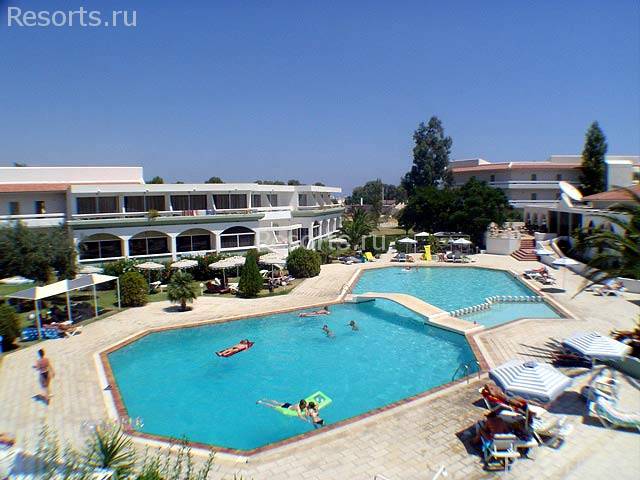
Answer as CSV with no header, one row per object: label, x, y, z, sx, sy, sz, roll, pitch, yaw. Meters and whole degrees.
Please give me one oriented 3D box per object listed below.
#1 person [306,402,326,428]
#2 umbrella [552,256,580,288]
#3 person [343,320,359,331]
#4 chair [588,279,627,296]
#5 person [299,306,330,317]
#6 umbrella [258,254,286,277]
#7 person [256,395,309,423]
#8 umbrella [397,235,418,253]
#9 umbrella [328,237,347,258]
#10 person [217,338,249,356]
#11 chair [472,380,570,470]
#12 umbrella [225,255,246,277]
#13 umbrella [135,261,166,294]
person,-0.226,6.578,14.543,0.705,0.285,0.418,49,21,20
umbrella,19.966,2.763,31.657,2.325,2.015,1.941,-7,9,-26
person,1.869,4.927,23.047,0.811,0.560,1.500,0,12,3
chair,19.802,3.300,26.727,1.872,0.852,2.967,9,15,36
person,-0.319,4.607,24.613,1.243,0.191,0.709,-4,13,-3
umbrella,-3.749,2.147,31.516,2.399,1.988,1.927,-2,27,-8
person,-1.311,6.584,15.221,1.399,0.346,0.827,9,20,20
umbrella,9.804,0.574,43.400,2.343,1.325,2.254,0,3,-42
umbrella,1.924,0.939,44.534,2.716,2.158,2.502,0,-2,2
person,-4.340,5.599,19.942,0.831,0.274,1.965,9,15,37
chair,5.773,5.850,11.880,2.008,0.969,3.013,-2,0,-12
umbrella,-6.405,2.137,30.489,1.987,1.574,1.744,-1,5,-29
umbrella,-13.150,2.794,29.082,2.750,2.200,2.408,1,4,-1
